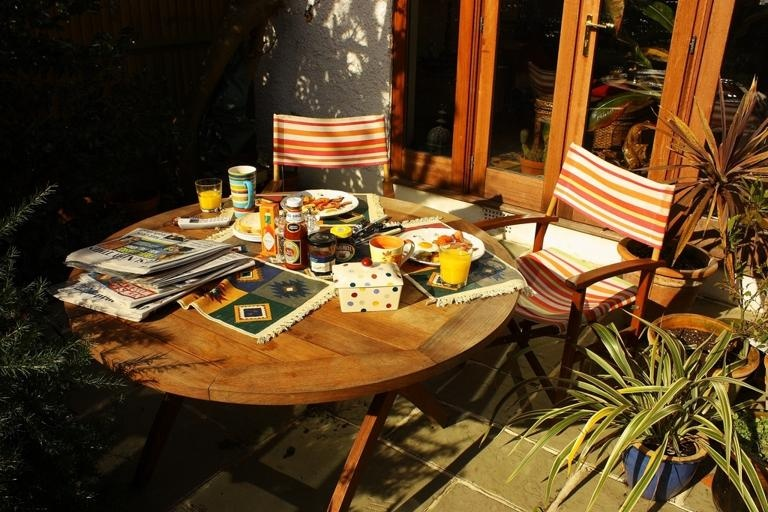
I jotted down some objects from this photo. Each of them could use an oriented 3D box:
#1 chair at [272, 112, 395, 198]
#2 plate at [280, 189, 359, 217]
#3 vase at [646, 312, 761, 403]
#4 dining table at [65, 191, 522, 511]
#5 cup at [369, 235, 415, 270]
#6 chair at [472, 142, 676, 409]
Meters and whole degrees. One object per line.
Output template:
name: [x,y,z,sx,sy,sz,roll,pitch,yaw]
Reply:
chair: [-0.336,-0.773,3.732,0.841,0.701,0.612,-3,28,-6]
plate: [-0.291,-0.298,2.796,0.257,0.039,0.228,-5,28,-14]
vase: [1.711,0.568,2.779,0.453,0.285,0.447,-28,37,-36]
dining table: [-0.230,0.594,2.261,1.479,0.683,1.421,-23,42,-32]
cup: [0.032,-0.019,2.304,0.199,0.125,0.137,1,33,-2]
chair: [1.012,0.108,2.992,0.926,1.080,0.911,-17,31,-18]
